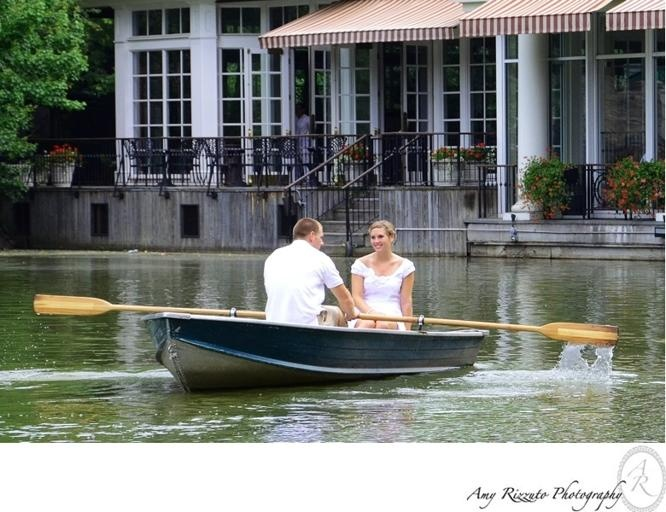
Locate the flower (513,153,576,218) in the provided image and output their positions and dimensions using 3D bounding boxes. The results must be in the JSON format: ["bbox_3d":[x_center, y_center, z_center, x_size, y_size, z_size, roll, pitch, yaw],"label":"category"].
[{"bbox_3d":[3.721,-1.232,24.073,1.040,1.151,0.995,-2,1,-21],"label":"flower"}]

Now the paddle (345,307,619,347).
[{"bbox_3d":[1.616,0.795,15.061,3.408,0.357,0.149,4,18,1],"label":"paddle"}]

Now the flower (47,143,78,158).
[{"bbox_3d":[-5.771,-2.234,29.021,0.616,0.311,0.844,-1,0,-11],"label":"flower"}]

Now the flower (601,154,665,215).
[{"bbox_3d":[5.131,-1.098,23.400,0.986,0.855,1.025,-5,-45,17],"label":"flower"}]

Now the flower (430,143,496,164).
[{"bbox_3d":[2.477,-1.949,26.243,1.240,0.309,1.023,-2,0,6],"label":"flower"}]

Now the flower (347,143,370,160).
[{"bbox_3d":[0.485,-2.036,26.950,0.374,0.253,0.370,0,10,-2],"label":"flower"}]

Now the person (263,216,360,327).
[{"bbox_3d":[-0.273,0.156,13.553,0.827,0.967,0.367,-2,0,0],"label":"person"}]

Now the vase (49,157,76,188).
[{"bbox_3d":[-5.720,-1.770,28.760,0.579,0.573,0.560,0,0,26],"label":"vase"}]
